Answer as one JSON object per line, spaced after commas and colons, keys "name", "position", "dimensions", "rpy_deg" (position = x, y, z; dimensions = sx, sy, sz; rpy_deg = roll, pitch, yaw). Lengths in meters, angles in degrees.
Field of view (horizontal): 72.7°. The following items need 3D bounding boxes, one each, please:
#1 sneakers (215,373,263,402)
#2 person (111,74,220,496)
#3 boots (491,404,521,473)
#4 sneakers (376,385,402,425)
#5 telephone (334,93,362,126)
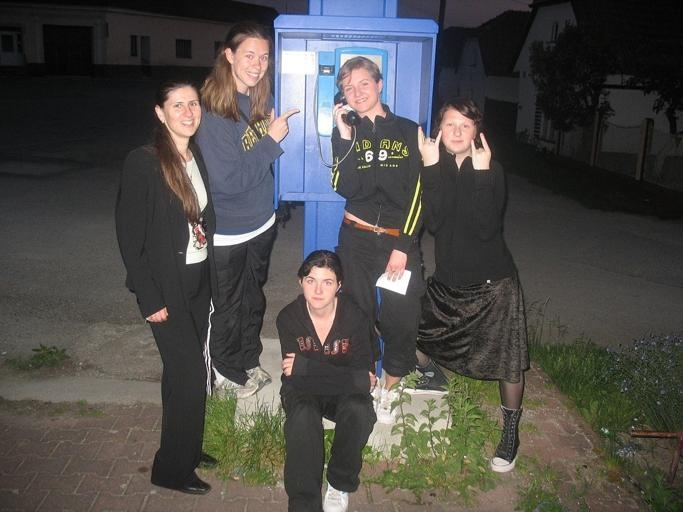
{"name": "sneakers", "position": [-0.886, 1.118, 3.997], "dimensions": [0.422, 0.198, 0.151], "rpy_deg": [-4, 23, -14]}
{"name": "person", "position": [-1.117, 0.244, 3.027], "dimensions": [0.552, 2.655, 0.562], "rpy_deg": [-1, 13, -17]}
{"name": "boots", "position": [1.219, 1.344, 3.497], "dimensions": [0.178, 0.376, 0.533], "rpy_deg": [1, 10, 21]}
{"name": "sneakers", "position": [0.368, 1.229, 3.788], "dimensions": [0.149, 0.176, 0.428], "rpy_deg": [0, 1, 6]}
{"name": "telephone", "position": [0.063, -1.148, 3.721], "dimensions": [0.086, 0.207, 0.283], "rpy_deg": [-29, -16, 1]}
